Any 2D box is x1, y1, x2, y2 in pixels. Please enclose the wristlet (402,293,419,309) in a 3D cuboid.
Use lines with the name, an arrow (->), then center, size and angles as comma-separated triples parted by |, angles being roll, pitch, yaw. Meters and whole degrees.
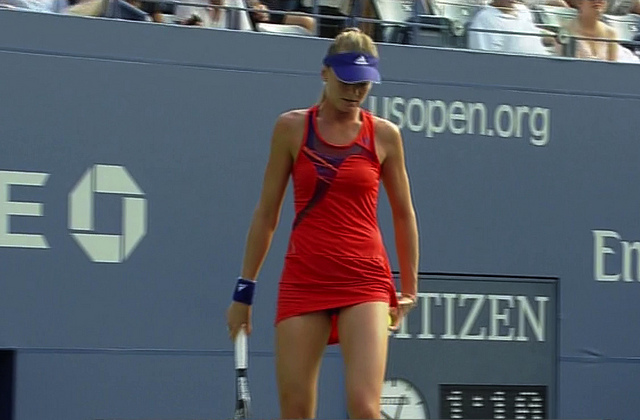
wristlet -> 0.655, 0.633, 12.724 | 0.090, 0.094, 0.104 | 4, 7, 13

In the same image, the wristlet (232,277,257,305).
wristlet -> -0.524, 0.563, 12.635 | 0.142, 0.175, 0.169 | 11, -6, -32
